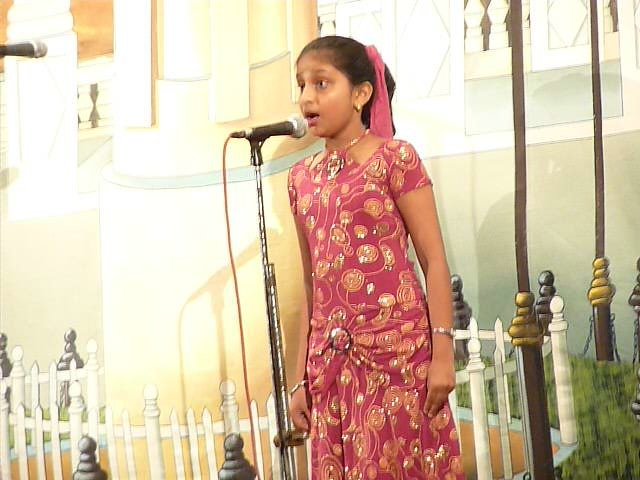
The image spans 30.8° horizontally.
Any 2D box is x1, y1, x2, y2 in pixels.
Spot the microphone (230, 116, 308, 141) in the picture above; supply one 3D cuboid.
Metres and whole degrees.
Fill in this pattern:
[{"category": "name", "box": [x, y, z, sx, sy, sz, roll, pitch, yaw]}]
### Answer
[{"category": "microphone", "box": [-0.202, -0.471, 4.914, 0.276, 0.099, 0.099, -10, 29, 3]}]
